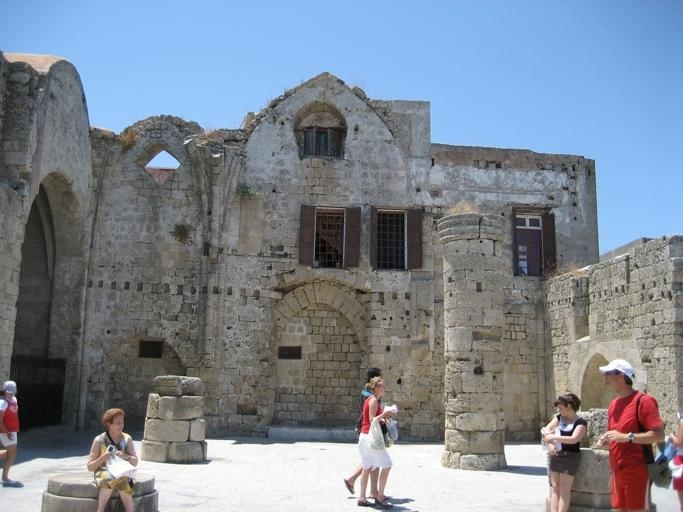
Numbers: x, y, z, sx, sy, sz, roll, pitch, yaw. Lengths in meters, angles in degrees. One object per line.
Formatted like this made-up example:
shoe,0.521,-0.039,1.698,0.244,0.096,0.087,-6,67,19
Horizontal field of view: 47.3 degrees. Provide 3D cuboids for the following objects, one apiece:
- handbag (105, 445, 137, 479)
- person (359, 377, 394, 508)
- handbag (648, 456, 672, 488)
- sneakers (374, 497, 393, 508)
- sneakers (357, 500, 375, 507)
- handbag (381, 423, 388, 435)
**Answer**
handbag,-3.284,3.060,11.564,0.354,0.458,0.286,-4,-10,25
person,0.547,3.034,12.817,0.572,2.074,0.615,0,-9,1
handbag,4.198,2.865,10.310,0.296,0.365,0.210,-2,-9,14
sneakers,0.650,4.020,12.647,0.316,0.126,0.118,24,-7,7
sneakers,0.367,4.016,12.699,0.196,0.082,0.106,2,-7,-8
handbag,0.674,2.818,12.745,0.129,0.156,0.174,1,-18,0
